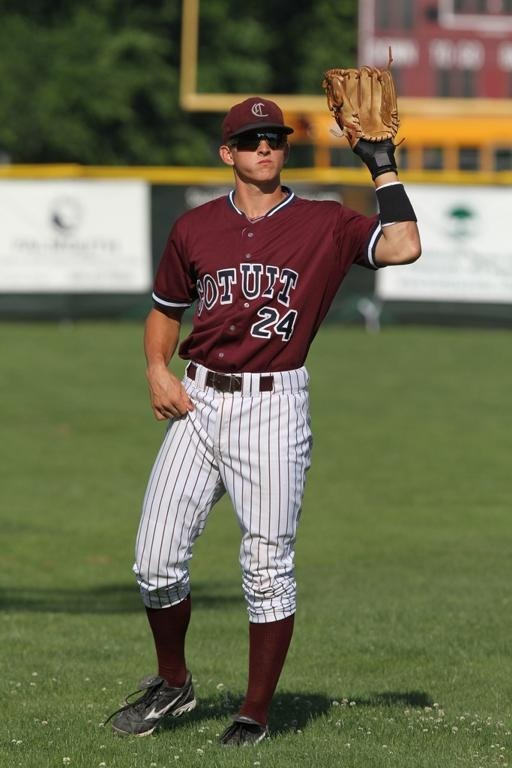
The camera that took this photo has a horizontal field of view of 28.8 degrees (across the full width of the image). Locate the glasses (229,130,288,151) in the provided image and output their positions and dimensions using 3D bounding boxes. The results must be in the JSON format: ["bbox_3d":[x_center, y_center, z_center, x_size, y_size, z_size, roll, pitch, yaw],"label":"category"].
[{"bbox_3d":[0.011,-0.625,2.558,0.083,0.024,0.081,-5,1,-13],"label":"glasses"}]

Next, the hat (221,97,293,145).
[{"bbox_3d":[-0.010,-0.683,2.618,0.129,0.077,0.156,-3,-5,-19],"label":"hat"}]

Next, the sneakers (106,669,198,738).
[{"bbox_3d":[-0.277,0.849,2.698,0.103,0.113,0.274,14,20,41],"label":"sneakers"}]

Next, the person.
[{"bbox_3d":[0.023,0.072,2.566,0.737,1.760,0.587,2,12,5],"label":"person"}]
